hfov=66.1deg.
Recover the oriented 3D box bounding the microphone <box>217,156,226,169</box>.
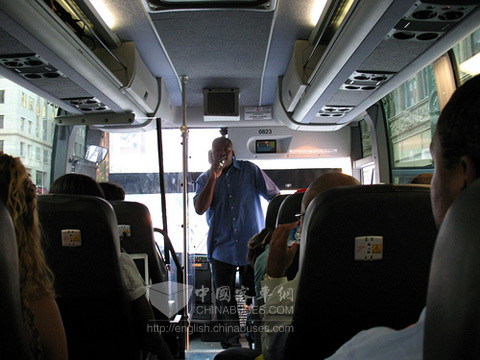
[{"bbox_3d":[-0.186,-0.179,3.916,0.028,0.098,0.108,12,-1,28],"label":"microphone"}]

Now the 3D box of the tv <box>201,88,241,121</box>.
[{"bbox_3d":[-0.241,-0.945,4.697,0.395,0.384,0.097,-1,8,-3],"label":"tv"}]
